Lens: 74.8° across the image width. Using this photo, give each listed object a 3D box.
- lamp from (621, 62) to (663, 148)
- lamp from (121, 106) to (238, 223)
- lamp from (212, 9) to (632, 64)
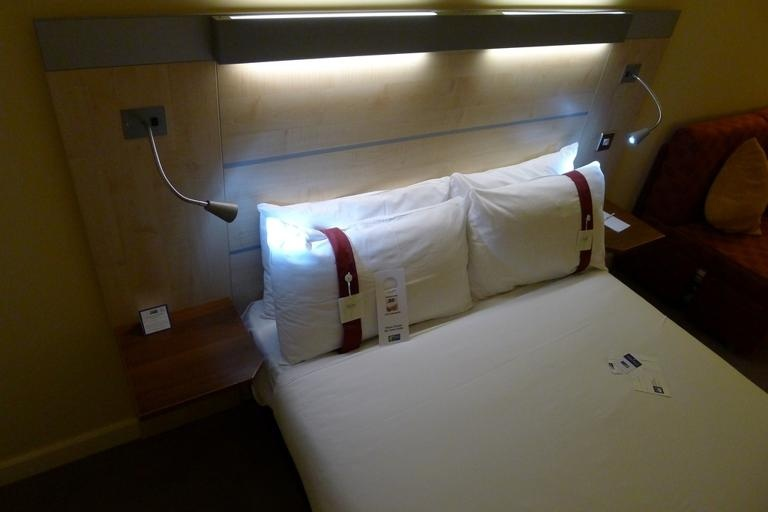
[{"bbox_3d":[1.576,-0.915,3.063,0.212,0.457,0.538,-1,9,29],"label":"lamp"},{"bbox_3d":[-0.845,-0.375,2.083,0.308,0.492,0.299,2,11,43],"label":"lamp"},{"bbox_3d":[0.128,-0.994,2.266,1.462,0.162,0.121,-5,16,-24],"label":"lamp"}]
